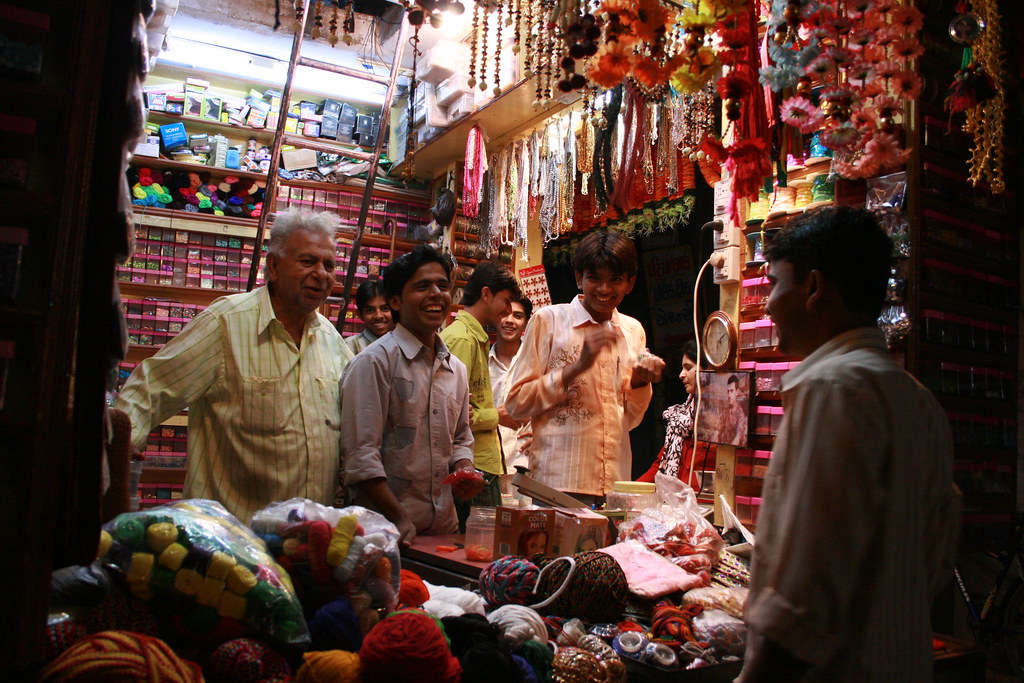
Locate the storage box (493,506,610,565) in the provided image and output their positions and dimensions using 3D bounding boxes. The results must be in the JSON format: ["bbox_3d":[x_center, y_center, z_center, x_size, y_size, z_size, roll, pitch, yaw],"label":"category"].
[{"bbox_3d":[0.132,0.604,2.555,0.327,0.173,0.216,3,-2,-22],"label":"storage box"}]

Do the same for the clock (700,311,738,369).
[{"bbox_3d":[1.041,-0.005,3.850,0.047,0.330,0.288,3,-5,-24],"label":"clock"}]
